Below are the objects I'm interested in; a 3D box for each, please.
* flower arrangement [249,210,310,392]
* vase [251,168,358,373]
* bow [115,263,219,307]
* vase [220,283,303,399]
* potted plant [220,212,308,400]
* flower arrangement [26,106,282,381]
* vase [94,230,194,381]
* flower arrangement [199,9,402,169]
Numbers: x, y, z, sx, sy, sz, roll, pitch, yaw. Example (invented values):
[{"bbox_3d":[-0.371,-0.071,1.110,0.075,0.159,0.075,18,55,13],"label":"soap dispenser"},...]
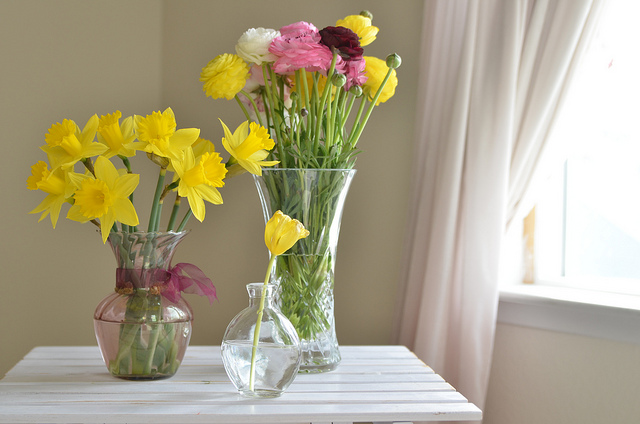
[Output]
[{"bbox_3d":[-0.091,0.200,1.264,0.122,0.420,0.196,2,10,7],"label":"flower arrangement"},{"bbox_3d":[-0.046,0.153,1.400,0.293,0.550,0.307,-11,-21,39],"label":"vase"},{"bbox_3d":[-0.351,0.180,1.334,0.211,0.091,0.139,2,11,27],"label":"bow"},{"bbox_3d":[-0.130,0.289,1.237,0.231,0.335,0.237,1,-9,0],"label":"vase"},{"bbox_3d":[-0.131,0.217,1.233,0.199,0.438,0.110,0,10,-3],"label":"potted plant"},{"bbox_3d":[-0.443,0.082,1.329,0.567,0.677,0.423,8,12,34],"label":"flower arrangement"},{"bbox_3d":[-0.454,0.236,1.361,0.240,0.363,0.250,-4,-6,39],"label":"vase"},{"bbox_3d":[-0.055,-0.268,1.415,0.441,0.511,0.487,-1,9,-37],"label":"flower arrangement"}]
